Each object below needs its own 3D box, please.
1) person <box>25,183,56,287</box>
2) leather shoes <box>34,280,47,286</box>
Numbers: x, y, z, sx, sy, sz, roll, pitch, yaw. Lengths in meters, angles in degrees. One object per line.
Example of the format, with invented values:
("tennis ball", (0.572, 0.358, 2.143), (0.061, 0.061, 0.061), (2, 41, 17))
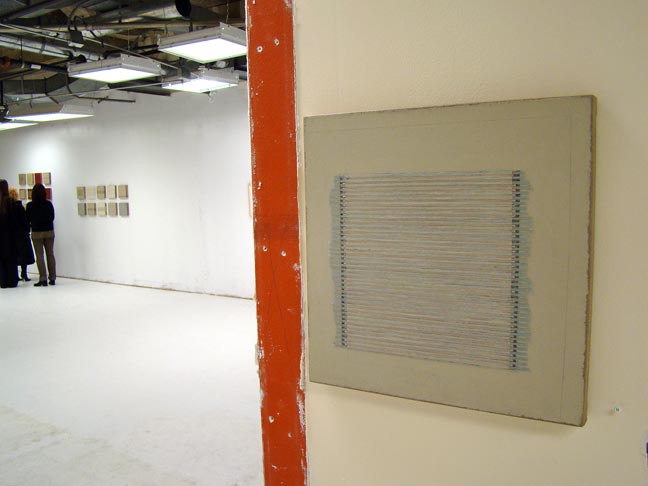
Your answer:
("person", (-4.584, -0.123, 8.545), (0.396, 1.639, 0.430), (-5, 8, -29))
("leather shoes", (-4.602, 0.650, 8.553), (0.193, 0.147, 0.079), (3, 1, -12))
